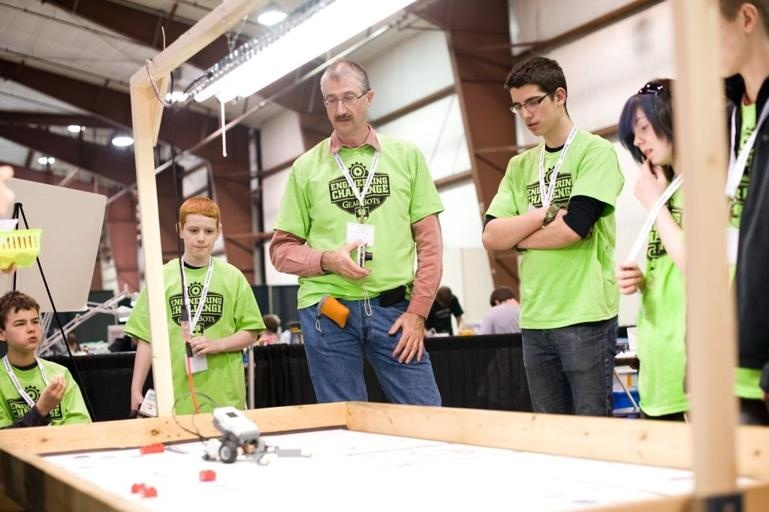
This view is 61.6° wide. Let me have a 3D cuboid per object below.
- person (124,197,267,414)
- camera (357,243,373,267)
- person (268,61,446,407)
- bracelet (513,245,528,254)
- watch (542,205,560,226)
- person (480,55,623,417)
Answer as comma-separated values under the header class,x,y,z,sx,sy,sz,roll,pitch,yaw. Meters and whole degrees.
class,x,y,z,sx,sy,sz,roll,pitch,yaw
person,-0.958,0.211,3.365,0.709,1.181,1.253,1,-11,-22
camera,-0.083,-0.006,2.740,0.027,0.098,0.073,-12,-13,41
person,-0.105,-0.100,2.833,0.761,1.507,0.419,-1,-10,-12
bracelet,0.605,-0.034,2.892,0.033,0.041,0.045,23,8,25
watch,0.704,-0.178,2.730,0.052,0.091,0.027,16,-13,36
person,0.753,-0.150,2.861,0.620,1.699,0.457,-3,-10,2
